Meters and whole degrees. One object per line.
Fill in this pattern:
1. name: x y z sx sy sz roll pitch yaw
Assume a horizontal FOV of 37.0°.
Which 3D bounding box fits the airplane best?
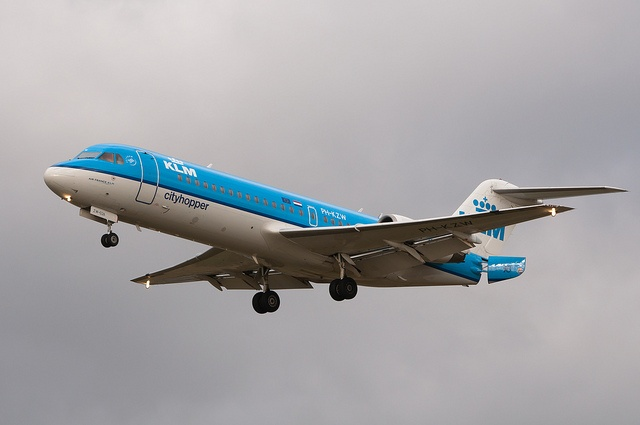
1. airplane: -0.800 0.582 30.510 10.358 2.368 9.020 18 -16 -24
